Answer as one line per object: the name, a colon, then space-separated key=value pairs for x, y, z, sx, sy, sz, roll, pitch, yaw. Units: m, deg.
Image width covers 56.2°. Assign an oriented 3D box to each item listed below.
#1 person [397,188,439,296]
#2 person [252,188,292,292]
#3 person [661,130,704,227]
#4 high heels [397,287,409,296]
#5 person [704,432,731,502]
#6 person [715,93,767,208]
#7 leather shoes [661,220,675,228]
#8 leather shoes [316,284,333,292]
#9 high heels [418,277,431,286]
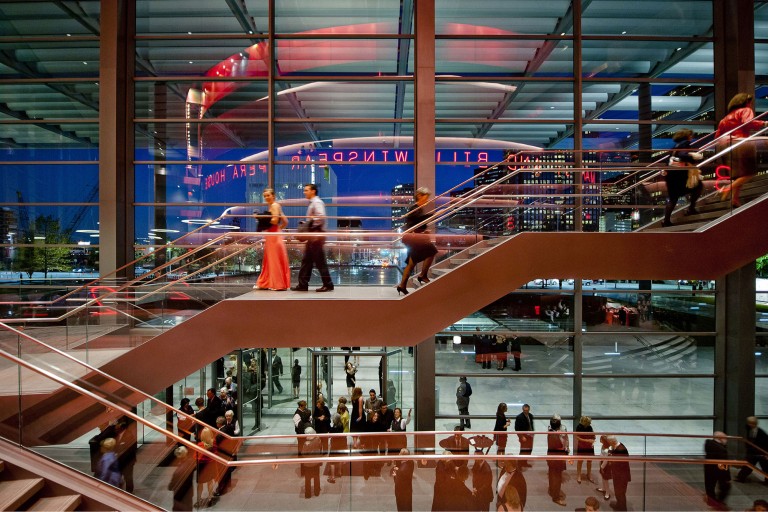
person: x=0.867 y=-0.335 z=17.345 sx=0.794 sy=2.520 sz=0.724 roll=0 pitch=-2 yaw=27
person: x=-2.681 y=-0.376 z=17.633 sx=0.904 sy=2.481 sz=0.659 roll=1 pitch=-2 yaw=4
person: x=7.301 y=-1.861 z=17.321 sx=0.883 sy=2.324 sz=0.473 roll=0 pitch=-2 yaw=19
high heels: x=0.505 y=0.851 z=17.114 sx=0.239 sy=0.194 sz=0.353 roll=1 pitch=-2 yaw=-9
person: x=8.052 y=5.076 z=17.140 sx=0.572 sy=1.663 sz=0.928 roll=0 pitch=-2 yaw=25
person: x=8.727 y=-2.518 z=17.290 sx=1.079 sy=2.820 sz=0.912 roll=0 pitch=-2 yaw=22
leather shoes: x=6.900 y=-0.754 z=17.315 sx=0.347 sy=0.254 sz=0.164 roll=1 pitch=-13 yaw=7
leather shoes: x=-1.412 y=0.815 z=17.465 sx=0.440 sy=0.140 sz=0.139 roll=3 pitch=-3 yaw=-8
high heels: x=0.997 y=0.635 z=17.076 sx=0.272 sy=0.198 sz=0.360 roll=1 pitch=-2 yaw=3
